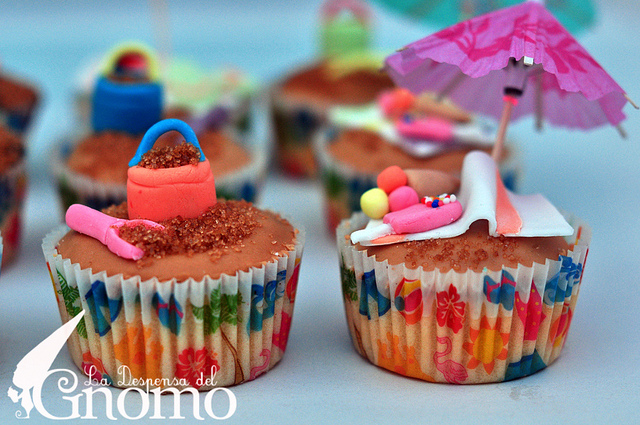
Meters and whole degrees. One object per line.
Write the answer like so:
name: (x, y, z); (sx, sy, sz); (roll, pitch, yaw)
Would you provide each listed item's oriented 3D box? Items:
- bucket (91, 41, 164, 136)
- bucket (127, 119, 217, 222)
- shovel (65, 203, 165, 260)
bucket: (-1.638, -1.058, 6.497); (0.568, 0.750, 0.740); (12, 25, 2)
bucket: (-0.946, -0.267, 4.800); (0.566, 0.660, 0.562); (-2, 16, 0)
shovel: (-1.287, 0.094, 4.578); (0.539, 0.140, 0.308); (22, 45, 25)
